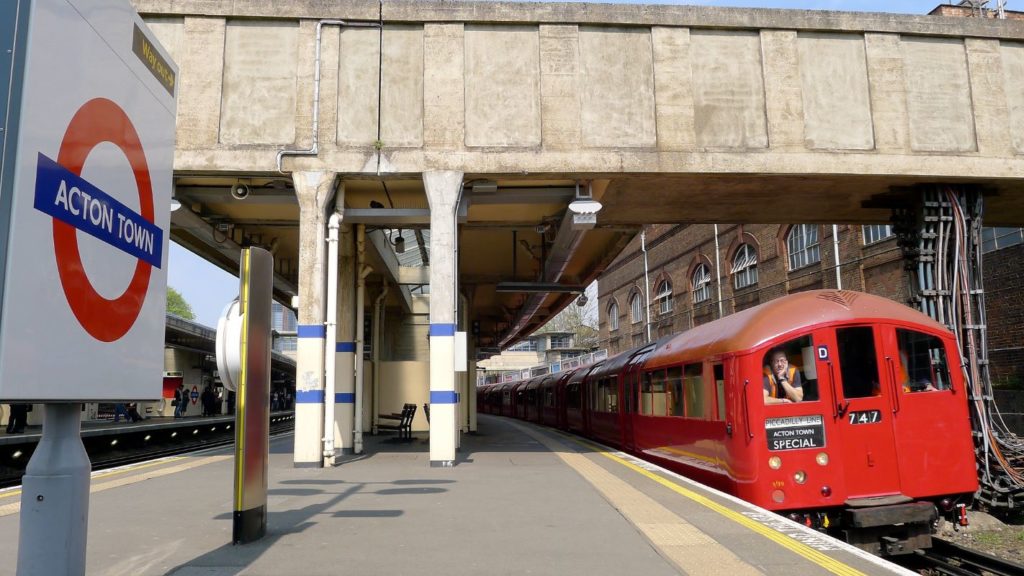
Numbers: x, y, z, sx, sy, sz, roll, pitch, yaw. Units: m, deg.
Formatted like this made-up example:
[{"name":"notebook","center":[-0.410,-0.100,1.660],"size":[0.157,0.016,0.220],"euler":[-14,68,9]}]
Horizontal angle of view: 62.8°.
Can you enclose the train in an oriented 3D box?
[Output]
[{"name":"train","center":[4.938,2.398,18.293],"size":[3.659,4.785,8.387],"euler":[1,1,-28]}]

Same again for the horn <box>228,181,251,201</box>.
[{"name":"horn","center":[-6.378,-2.262,19.654],"size":[0.409,0.399,0.599],"euler":[1,1,-20]}]

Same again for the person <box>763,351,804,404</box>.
[{"name":"person","center":[5.092,1.728,15.905],"size":[0.770,0.879,0.353],"euler":[-4,-6,3]}]
